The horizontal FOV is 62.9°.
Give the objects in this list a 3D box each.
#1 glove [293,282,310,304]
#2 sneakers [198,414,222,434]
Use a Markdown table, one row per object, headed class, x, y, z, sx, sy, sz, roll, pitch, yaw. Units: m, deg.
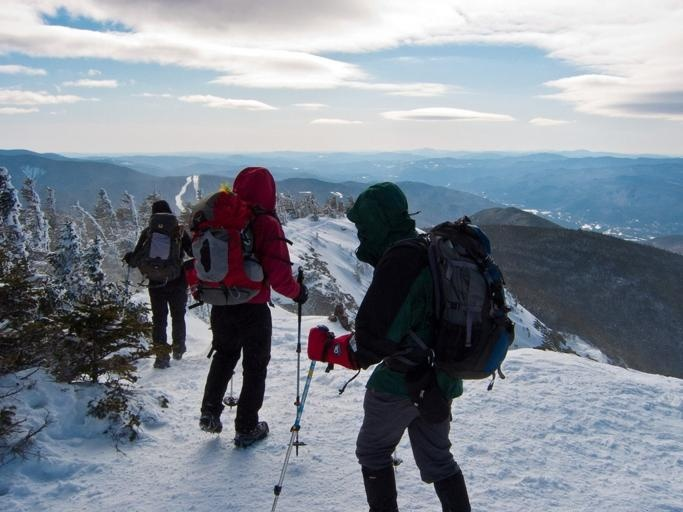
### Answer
| class | x | y | z | sx | sy | sz | roll | pitch | yaw |
| --- | --- | --- | --- | --- | --- | --- | --- | --- | --- |
| glove | -0.642 | 0.628 | 9.169 | 0.261 | 0.302 | 0.123 | -16 | 12 | 35 |
| sneakers | -2.214 | 2.858 | 9.469 | 0.219 | 0.222 | 0.551 | 2 | -7 | 17 |
